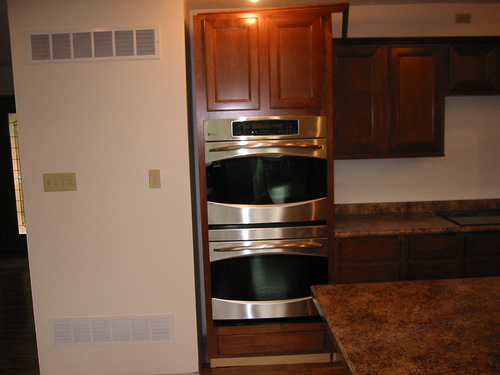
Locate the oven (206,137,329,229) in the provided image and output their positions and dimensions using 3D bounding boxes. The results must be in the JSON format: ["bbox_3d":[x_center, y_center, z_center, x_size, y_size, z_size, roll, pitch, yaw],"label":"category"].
[{"bbox_3d":[-0.004,0.003,3.721,1.130,0.803,0.737,-1,-4,-35],"label":"oven"}]

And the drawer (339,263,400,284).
[{"bbox_3d":[0.923,0.650,3.554,0.471,0.149,0.034,-4,4,-1],"label":"drawer"}]

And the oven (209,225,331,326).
[{"bbox_3d":[0.147,0.493,3.800,0.990,0.907,0.669,-1,2,-1],"label":"oven"}]

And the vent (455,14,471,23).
[{"bbox_3d":[1.831,-1.449,3.981,0.121,0.080,0.067,0,5,6],"label":"vent"}]

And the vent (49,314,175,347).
[{"bbox_3d":[-1.044,1.074,3.538,0.917,0.284,0.033,0,16,-6],"label":"vent"}]
